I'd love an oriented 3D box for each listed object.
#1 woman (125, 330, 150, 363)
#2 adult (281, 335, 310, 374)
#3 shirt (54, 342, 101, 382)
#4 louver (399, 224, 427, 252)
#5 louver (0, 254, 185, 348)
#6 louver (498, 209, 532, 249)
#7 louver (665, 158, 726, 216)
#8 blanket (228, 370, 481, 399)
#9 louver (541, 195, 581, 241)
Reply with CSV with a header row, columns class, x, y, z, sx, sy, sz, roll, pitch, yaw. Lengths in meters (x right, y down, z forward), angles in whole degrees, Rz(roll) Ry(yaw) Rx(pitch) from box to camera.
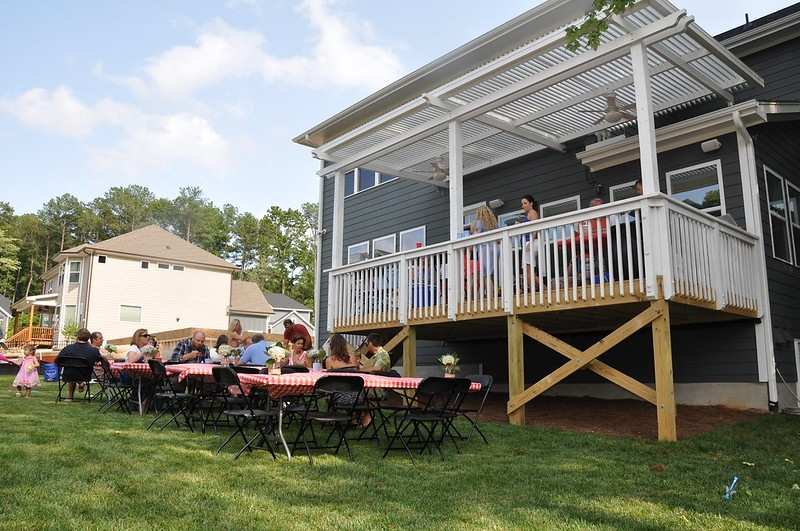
class,x,y,z,sx,sy,sz,roll,pitch,yaw
woman,-5.213,1.689,13.207,0.480,0.821,0.476,-2,-4,-7
adult,-1.876,1.743,12.041,0.574,0.821,0.470,2,1,14
shirt,-6.507,2.037,13.339,0.764,0.820,0.851,1,2,-18
louver,0.367,-0.735,17.652,0.040,0.575,0.826,9,-11,-40
louver,-14.867,3.095,35.319,6.524,3.936,6.503,7,-12,-37
louver,2.299,-0.717,13.103,0.536,0.962,1.010,-2,-2,1
louver,5.846,-1.524,12.884,1.327,1.568,0.069,-3,-3,45
blanket,-0.795,1.796,9.746,3.136,0.459,1.114,7,-15,-15
louver,3.187,-0.922,12.897,1.080,1.267,0.055,-20,-50,34
